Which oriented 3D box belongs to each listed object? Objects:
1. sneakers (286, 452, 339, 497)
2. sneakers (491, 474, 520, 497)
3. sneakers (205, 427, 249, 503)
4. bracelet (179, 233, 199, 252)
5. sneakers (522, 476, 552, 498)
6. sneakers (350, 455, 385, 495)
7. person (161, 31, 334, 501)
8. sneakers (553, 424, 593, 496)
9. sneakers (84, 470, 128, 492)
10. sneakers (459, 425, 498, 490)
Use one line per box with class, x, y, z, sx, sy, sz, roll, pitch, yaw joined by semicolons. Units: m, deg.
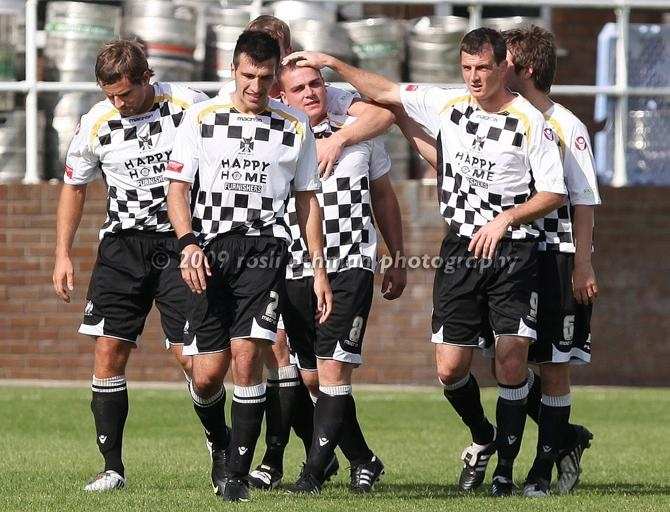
sneakers;-0.162;1.534;10.248;0.158;0.250;0.475;8;18;33
sneakers;1.197;1.592;10.184;0.184;0.123;0.202;2;8;8
sneakers;-0.713;1.472;10.038;0.165;0.233;0.547;-7;55;-21
bracelet;-0.997;-0.118;9.840;0.116;0.091;0.118;19;-9;17
sneakers;1.438;1.605;10.241;0.194;0.104;0.263;2;8;8
sneakers;0.229;1.536;10.402;0.127;0.174;0.356;-2;33;36
person;-0.604;0.034;9.955;1.066;3.144;0.609;0;8;-12
sneakers;1.743;1.408;10.539;0.271;0.558;0.185;15;-6;-35
sneakers;-1.599;1.554;10.138;0.317;0.138;0.115;0;-4;-13
sneakers;1.041;1.457;10.496;0.154;0.469;0.194;22;-3;36
